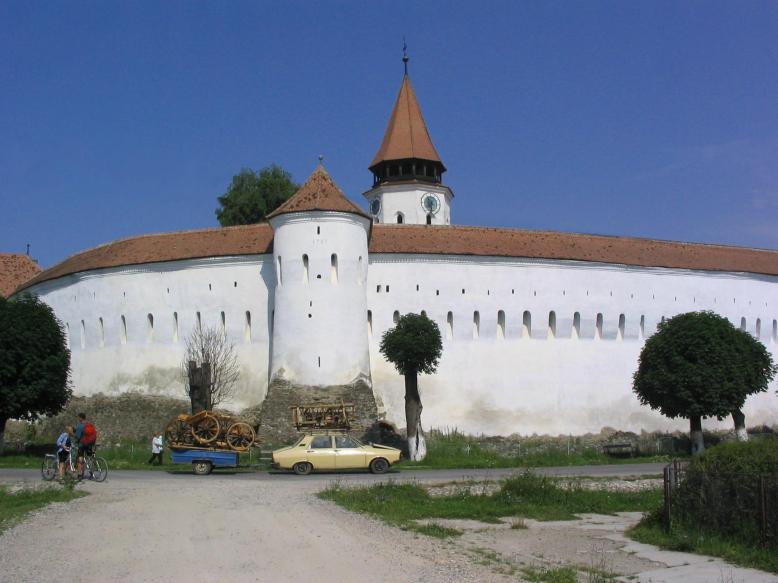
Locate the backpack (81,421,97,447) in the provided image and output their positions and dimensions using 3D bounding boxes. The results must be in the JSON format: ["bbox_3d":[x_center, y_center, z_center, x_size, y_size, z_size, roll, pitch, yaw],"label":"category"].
[{"bbox_3d":[-10.091,4.751,35.125,0.469,0.780,0.866,1,-8,-13],"label":"backpack"}]

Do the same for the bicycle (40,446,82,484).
[{"bbox_3d":[-11.049,5.954,35.631,2.032,1.311,1.015,-7,-11,41],"label":"bicycle"}]

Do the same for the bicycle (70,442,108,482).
[{"bbox_3d":[-10.508,5.860,35.663,1.762,1.083,0.900,-1,-4,36],"label":"bicycle"}]
